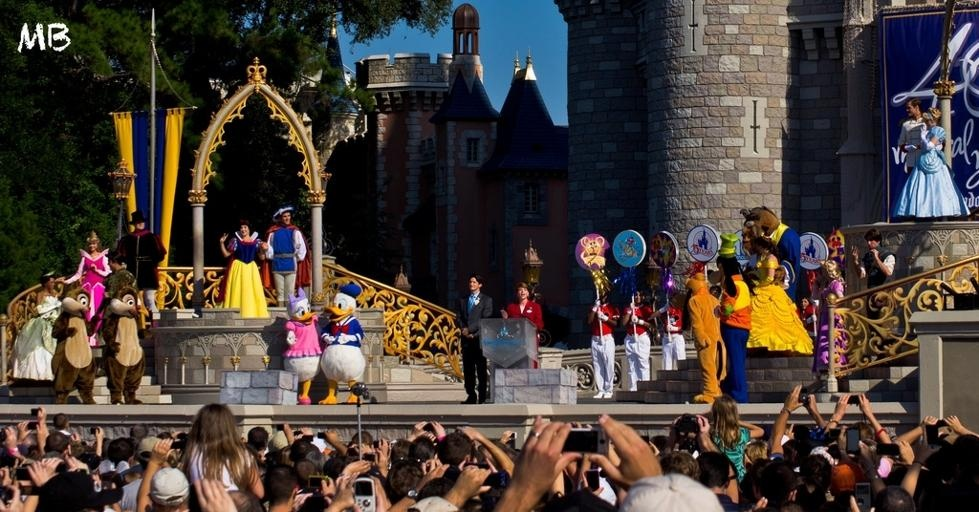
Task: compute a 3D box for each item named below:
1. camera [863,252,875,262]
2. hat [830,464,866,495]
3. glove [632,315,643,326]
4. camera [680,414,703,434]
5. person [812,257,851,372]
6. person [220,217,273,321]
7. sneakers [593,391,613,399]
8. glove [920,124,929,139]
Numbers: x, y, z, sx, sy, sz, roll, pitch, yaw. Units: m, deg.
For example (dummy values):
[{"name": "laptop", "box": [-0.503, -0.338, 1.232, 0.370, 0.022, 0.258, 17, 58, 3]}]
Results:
[{"name": "camera", "box": [9.071, 0.009, 65.805, 0.258, 0.146, 0.227, -2, 2, -8]}, {"name": "hat", "box": [7.740, 4.701, 59.881, 0.604, 0.347, 0.787, -1, 6, 15]}, {"name": "glove", "box": [3.861, 1.627, 71.726, 0.270, 0.179, 0.105, 28, -34, 9]}, {"name": "camera", "box": [4.434, 3.584, 60.683, 0.482, 0.338, 0.417, 1, 3, 4]}, {"name": "person", "box": [8.089, 1.378, 65.427, 0.759, 1.941, 1.364, -1, -1, 6]}, {"name": "person", "box": [-6.137, 0.298, 69.095, 1.144, 2.347, 0.719, -1, -1, -4]}, {"name": "sneakers", "box": [2.890, 3.447, 70.108, 0.193, 0.130, 0.393, -2, -7, 29]}, {"name": "glove", "box": [10.590, -2.950, 66.967, 0.252, 0.265, 0.111, 5, -7, 18]}]
